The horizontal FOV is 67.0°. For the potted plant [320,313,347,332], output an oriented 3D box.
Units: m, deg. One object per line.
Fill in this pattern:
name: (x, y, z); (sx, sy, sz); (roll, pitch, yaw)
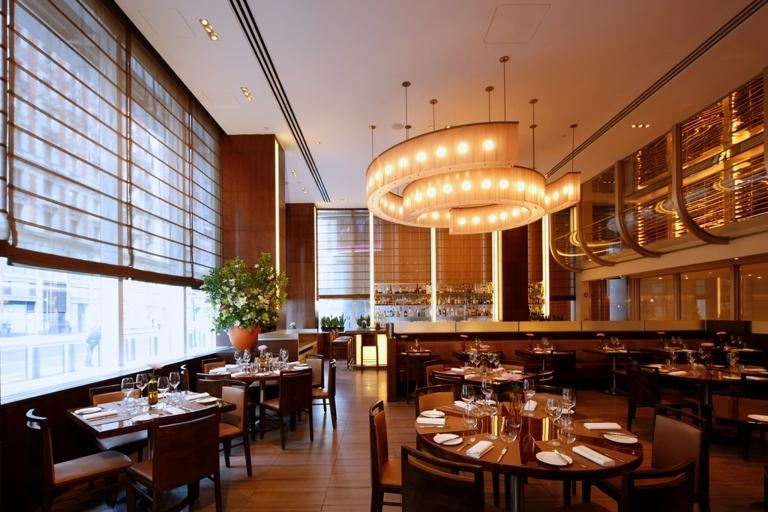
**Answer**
potted plant: (-1.393, 1.791, 15.739); (0.450, 0.379, 0.537); (0, -12, -4)

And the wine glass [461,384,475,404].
wine glass: (1.042, 1.681, 7.133); (0.165, 0.217, 0.249); (-4, -9, 8)

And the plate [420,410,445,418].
plate: (0.613, 1.989, 7.308); (0.295, 0.087, 0.286); (-7, -11, 20)

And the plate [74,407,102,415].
plate: (-3.889, 2.041, 7.629); (0.340, 0.085, 0.261); (-1, -10, -15)

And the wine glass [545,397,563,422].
wine glass: (2.080, 1.918, 7.269); (0.212, 0.363, 0.225); (1, -10, -5)

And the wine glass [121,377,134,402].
wine glass: (-3.433, 1.787, 7.796); (0.149, 0.291, 0.276); (1, -10, -24)

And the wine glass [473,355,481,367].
wine glass: (1.511, 1.730, 9.460); (0.128, 0.224, 0.139); (0, -3, 3)

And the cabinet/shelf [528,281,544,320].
cabinet/shelf: (4.574, 1.307, 17.660); (0.610, 1.092, 0.333); (4, -11, -38)

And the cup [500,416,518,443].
cup: (1.436, 2.036, 6.832); (0.221, 0.333, 0.229); (0, -5, 0)

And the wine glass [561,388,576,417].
wine glass: (2.224, 1.771, 7.058); (0.171, 0.332, 0.436); (-5, -10, 15)

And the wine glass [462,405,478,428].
wine glass: (1.040, 1.929, 6.982); (0.165, 0.281, 0.332); (-4, -9, 7)

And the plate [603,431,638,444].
plate: (2.756, 2.131, 6.805); (0.376, 0.123, 0.218); (-4, -10, 3)

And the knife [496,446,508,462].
knife: (1.321, 2.226, 6.513); (0.050, 0.017, 0.348); (4, -3, 24)

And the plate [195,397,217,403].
plate: (-2.461, 1.996, 8.031); (0.248, 0.082, 0.289); (-9, -11, 29)

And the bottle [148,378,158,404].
bottle: (-3.156, 1.856, 7.961); (0.118, 0.338, 0.227); (1, -10, -23)
